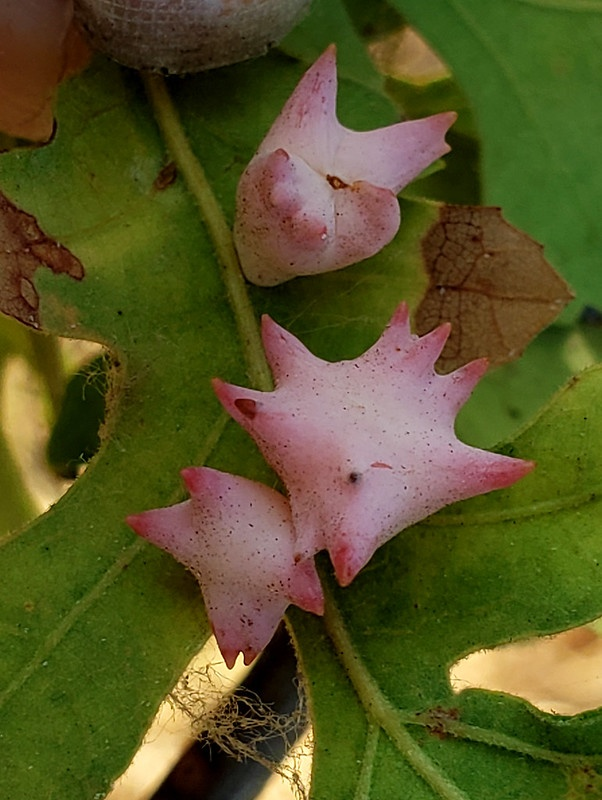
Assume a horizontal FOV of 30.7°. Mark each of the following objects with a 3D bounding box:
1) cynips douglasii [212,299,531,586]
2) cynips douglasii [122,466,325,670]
[{"bbox_3d":[0.073,0.022,1.098,0.262,0.283,0.090,-21,-6,-5],"label":"cynips douglasii"},{"bbox_3d":[-0.096,0.164,1.159,0.080,0.236,0.288,-29,-53,19],"label":"cynips douglasii"}]
